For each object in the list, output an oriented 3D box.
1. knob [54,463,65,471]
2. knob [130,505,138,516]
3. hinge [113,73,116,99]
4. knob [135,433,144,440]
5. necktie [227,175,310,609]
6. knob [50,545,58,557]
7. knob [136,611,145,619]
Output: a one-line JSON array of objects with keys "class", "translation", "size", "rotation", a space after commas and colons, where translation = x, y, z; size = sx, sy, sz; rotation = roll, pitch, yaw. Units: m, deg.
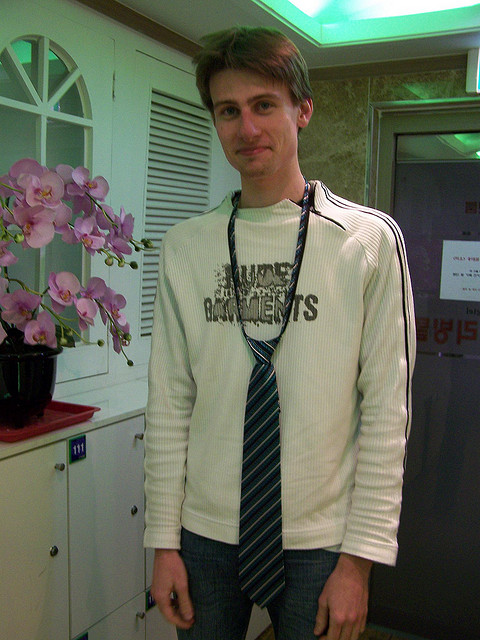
[{"class": "knob", "translation": [-0.424, 0.342, 1.196], "size": [0.010, 0.021, 0.027], "rotation": [5, 4, 34]}, {"class": "knob", "translation": [-0.302, 0.534, 1.443], "size": [0.006, 0.024, 0.020], "rotation": [0, 20, 24]}, {"class": "hinge", "translation": [-0.404, -0.745, 1.620], "size": [0.005, 0.072, 0.014], "rotation": [4, 3, 15]}, {"class": "knob", "translation": [-0.285, 0.329, 1.444], "size": [0.011, 0.020, 0.033], "rotation": [5, 3, 32]}, {"class": "necktie", "translation": [0.026, 0.089, 0.772], "size": [0.130, 0.630, 0.180], "rotation": [3, 3, 5]}, {"class": "knob", "translation": [-0.440, 0.538, 1.196], "size": [0.007, 0.023, 0.023], "rotation": [4, 3, 14]}, {"class": "knob", "translation": [-0.291, 0.850, 1.477], "size": [0.026, 0.018, 0.014], "rotation": [20, -11, -39]}]
